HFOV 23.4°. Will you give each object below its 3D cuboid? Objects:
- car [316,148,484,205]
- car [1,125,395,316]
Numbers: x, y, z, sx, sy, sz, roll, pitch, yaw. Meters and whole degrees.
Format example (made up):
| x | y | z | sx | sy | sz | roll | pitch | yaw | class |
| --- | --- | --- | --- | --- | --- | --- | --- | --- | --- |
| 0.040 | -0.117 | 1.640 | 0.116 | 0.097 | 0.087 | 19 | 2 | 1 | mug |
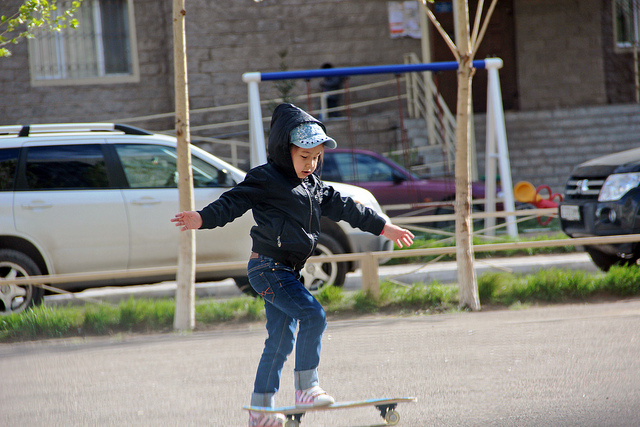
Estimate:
| x | y | z | sx | sy | sz | roll | pitch | yaw | class |
| --- | --- | --- | --- | --- | --- | --- | --- | --- | --- |
| 1.323 | -0.725 | 30.753 | 2.577 | 0.909 | 1.139 | 0 | 1 | -5 | car |
| -2.090 | -0.039 | 27.476 | 6.850 | 2.789 | 3.024 | -2 | 2 | -9 | car |
